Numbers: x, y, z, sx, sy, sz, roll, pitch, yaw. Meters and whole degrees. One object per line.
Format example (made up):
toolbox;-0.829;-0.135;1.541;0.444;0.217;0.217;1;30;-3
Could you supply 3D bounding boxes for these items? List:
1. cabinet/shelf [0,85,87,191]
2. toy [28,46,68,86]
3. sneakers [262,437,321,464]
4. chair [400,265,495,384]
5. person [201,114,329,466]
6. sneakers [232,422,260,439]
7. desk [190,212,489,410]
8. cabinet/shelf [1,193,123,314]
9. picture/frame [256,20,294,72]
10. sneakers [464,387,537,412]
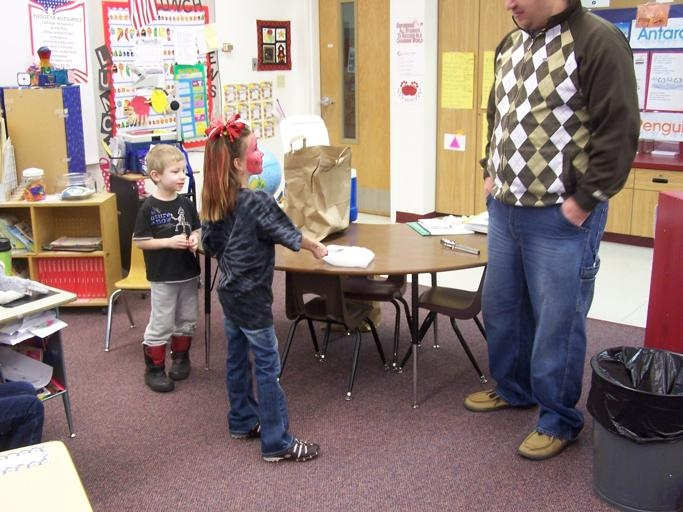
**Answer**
cabinet/shelf;-2.283;-0.912;4.403;0.560;0.810;0.276;-14;19;-30
toy;-2.295;-1.472;4.393;0.276;0.288;0.271;-12;18;-24
sneakers;-0.230;0.860;2.619;0.249;0.125;0.108;-6;27;-8
chair;0.623;0.369;3.469;0.582;0.846;0.537;4;15;14
person;-0.369;0.156;2.565;0.528;1.551;0.363;8;20;34
sneakers;-0.461;0.864;2.812;0.164;0.083;0.063;1;13;-4
desk;-0.046;0.399;3.191;1.433;1.002;1.527;11;3;-11
cabinet/shelf;-1.944;-0.023;3.887;0.777;0.816;0.313;-1;7;-5
picture/frame;-0.775;-2.395;6.339;0.554;0.626;0.024;-12;19;-41
sneakers;0.831;0.746;2.978;0.360;0.145;0.138;1;18;0
